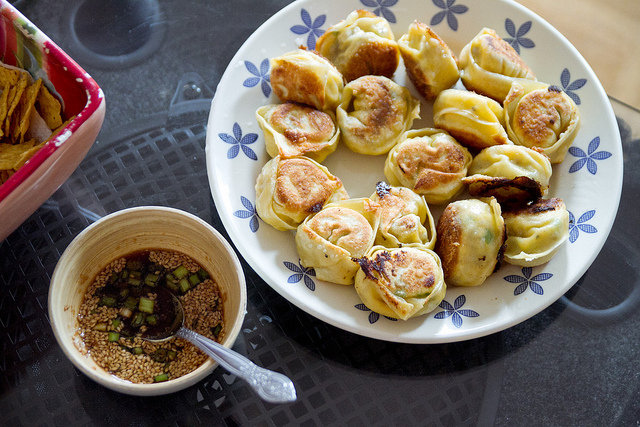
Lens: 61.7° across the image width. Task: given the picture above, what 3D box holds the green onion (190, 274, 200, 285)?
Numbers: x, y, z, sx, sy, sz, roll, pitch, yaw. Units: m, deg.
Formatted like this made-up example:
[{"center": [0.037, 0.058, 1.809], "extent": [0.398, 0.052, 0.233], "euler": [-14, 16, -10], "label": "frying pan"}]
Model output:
[{"center": [-0.354, 0.187, 1.515], "extent": [0.025, 0.007, 0.025], "euler": [-1, 82, -8], "label": "green onion"}]

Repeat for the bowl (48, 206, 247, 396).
[{"center": [-0.510, 0.252, 1.480], "extent": [0.481, 0.226, 0.523], "euler": [1, 82, -8], "label": "bowl"}]

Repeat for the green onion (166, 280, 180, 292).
[{"center": [-0.417, 0.206, 1.521], "extent": [0.035, 0.008, 0.022], "euler": [41, 93, 11], "label": "green onion"}]

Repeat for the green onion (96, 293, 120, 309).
[{"center": [-0.590, 0.241, 1.492], "extent": [0.046, 0.014, 0.036], "euler": [18, 62, -11], "label": "green onion"}]

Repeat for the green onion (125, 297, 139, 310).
[{"center": [-0.532, 0.251, 1.503], "extent": [0.028, 0.009, 0.032], "euler": [15, 68, -10], "label": "green onion"}]

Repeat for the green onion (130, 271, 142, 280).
[{"center": [-0.521, 0.174, 1.525], "extent": [0.034, 0.024, 0.020], "euler": [24, 92, -6], "label": "green onion"}]

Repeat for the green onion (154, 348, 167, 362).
[{"center": [-0.436, 0.386, 1.460], "extent": [0.028, 0.007, 0.030], "euler": [15, 70, 2], "label": "green onion"}]

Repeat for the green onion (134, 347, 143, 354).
[{"center": [-0.500, 0.375, 1.462], "extent": [0.014, 0.004, 0.015], "euler": [0, 65, -3], "label": "green onion"}]

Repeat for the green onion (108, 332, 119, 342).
[{"center": [-0.568, 0.338, 1.470], "extent": [0.022, 0.006, 0.022], "euler": [3, 76, -17], "label": "green onion"}]

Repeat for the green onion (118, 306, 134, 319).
[{"center": [-0.543, 0.277, 1.495], "extent": [0.029, 0.022, 0.029], "euler": [17, 74, 5], "label": "green onion"}]

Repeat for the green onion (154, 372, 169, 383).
[{"center": [-0.427, 0.441, 1.442], "extent": [0.030, 0.017, 0.020], "euler": [-10, 46, -16], "label": "green onion"}]

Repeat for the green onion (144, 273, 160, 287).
[{"center": [-0.483, 0.187, 1.519], "extent": [0.033, 0.009, 0.034], "euler": [16, 80, 0], "label": "green onion"}]

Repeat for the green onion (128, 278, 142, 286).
[{"center": [-0.525, 0.195, 1.516], "extent": [0.032, 0.011, 0.017], "euler": [6, 84, -5], "label": "green onion"}]

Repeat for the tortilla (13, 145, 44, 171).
[{"center": [-0.829, -0.170, 1.537], "extent": [0.023, 0.083, 0.083], "euler": [39, 27, 0], "label": "tortilla"}]

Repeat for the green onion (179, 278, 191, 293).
[{"center": [-0.383, 0.203, 1.512], "extent": [0.029, 0.010, 0.031], "euler": [-13, 78, 3], "label": "green onion"}]

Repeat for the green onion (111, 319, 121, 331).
[{"center": [-0.567, 0.307, 1.480], "extent": [0.021, 0.022, 0.027], "euler": [8, 101, 0], "label": "green onion"}]

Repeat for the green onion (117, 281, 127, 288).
[{"center": [-0.559, 0.201, 1.515], "extent": [0.017, 0.004, 0.018], "euler": [-1, 80, -17], "label": "green onion"}]

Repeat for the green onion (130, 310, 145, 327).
[{"center": [-0.508, 0.293, 1.494], "extent": [0.026, 0.012, 0.041], "euler": [6, 74, 2], "label": "green onion"}]

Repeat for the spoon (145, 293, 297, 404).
[{"center": [-0.281, 0.371, 1.430], "extent": [0.493, 0.052, 0.149], "euler": [28, 40, 11], "label": "spoon"}]

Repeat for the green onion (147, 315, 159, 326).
[{"center": [-0.465, 0.298, 1.494], "extent": [0.024, 0.006, 0.024], "euler": [12, 66, -6], "label": "green onion"}]

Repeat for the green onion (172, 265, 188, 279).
[{"center": [-0.396, 0.168, 1.520], "extent": [0.034, 0.031, 0.029], "euler": [6, 43, -3], "label": "green onion"}]

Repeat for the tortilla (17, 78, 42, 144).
[{"center": [-0.857, -0.303, 1.570], "extent": [0.042, 0.109, 0.149], "euler": [14, 82, -45], "label": "tortilla"}]
